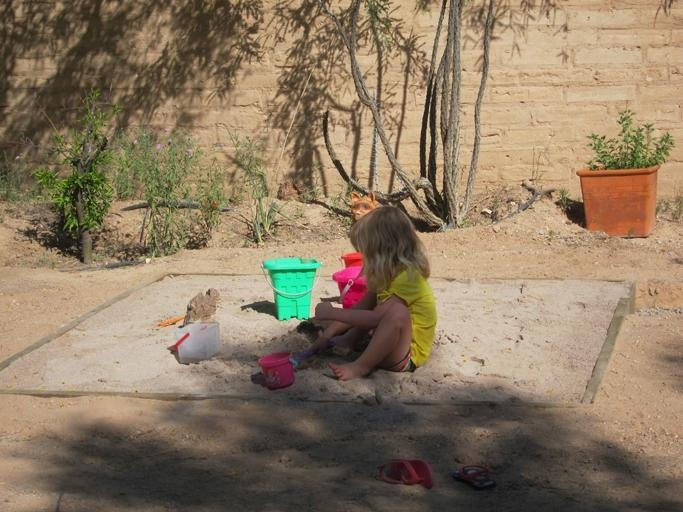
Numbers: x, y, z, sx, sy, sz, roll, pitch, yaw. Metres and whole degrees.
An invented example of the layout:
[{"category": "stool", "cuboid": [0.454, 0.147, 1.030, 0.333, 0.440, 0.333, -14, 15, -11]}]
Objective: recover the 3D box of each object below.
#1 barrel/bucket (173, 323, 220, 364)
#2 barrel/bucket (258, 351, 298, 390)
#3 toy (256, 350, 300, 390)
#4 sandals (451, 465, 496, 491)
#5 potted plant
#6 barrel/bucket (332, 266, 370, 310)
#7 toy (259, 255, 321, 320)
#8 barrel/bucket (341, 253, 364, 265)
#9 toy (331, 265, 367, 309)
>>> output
[{"category": "barrel/bucket", "cuboid": [-1.277, 0.743, 7.896, 0.365, 0.329, 0.356, -1, 8, 0]}, {"category": "barrel/bucket", "cuboid": [-0.580, 0.956, 7.522, 0.289, 0.230, 0.300, -16, 4, 1]}, {"category": "toy", "cuboid": [-0.519, 0.960, 7.461, 0.290, 0.229, 0.299, -21, 6, -39]}, {"category": "sandals", "cuboid": [0.966, 1.601, 6.506, 0.238, 0.107, 0.162, 9, 9, 37]}, {"category": "potted plant", "cuboid": [3.585, -1.075, 11.278, 1.070, 1.570, 1.180, 5, 10, 19]}, {"category": "barrel/bucket", "cuboid": [0.111, 0.291, 8.320, 0.373, 0.332, 0.361, -1, -5, 0]}, {"category": "toy", "cuboid": [-0.504, 0.274, 8.639, 0.698, 0.617, 0.556, -1, 3, -9]}, {"category": "barrel/bucket", "cuboid": [0.104, 0.022, 8.734, 0.163, 0.085, 0.179, 0, 1, 4]}, {"category": "toy", "cuboid": [0.068, 0.284, 8.251, 0.374, 0.330, 0.358, -1, 5, -2]}]
